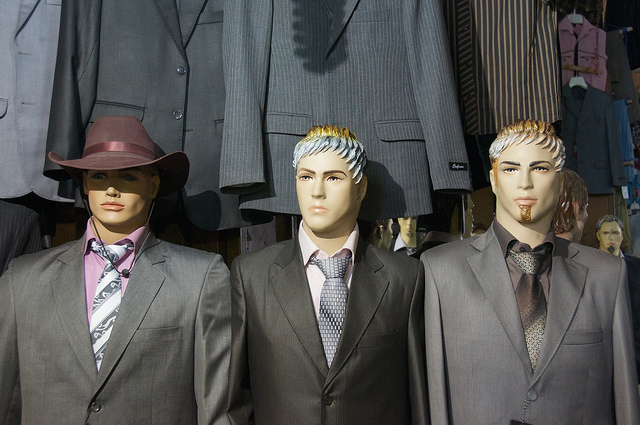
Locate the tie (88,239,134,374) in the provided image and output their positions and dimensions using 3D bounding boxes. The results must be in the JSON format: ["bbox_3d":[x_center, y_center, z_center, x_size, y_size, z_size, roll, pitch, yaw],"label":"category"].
[{"bbox_3d":[-1.260,0.531,3.963,0.230,0.119,1.030,7,41,-18],"label":"tie"}]

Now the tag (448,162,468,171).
[{"bbox_3d":[0.897,-0.296,4.344,0.124,0.054,0.006,-3,0,-26],"label":"tag"}]

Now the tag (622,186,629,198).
[{"bbox_3d":[2.964,-0.197,6.476,0.039,0.078,0.201,3,2,28],"label":"tag"}]

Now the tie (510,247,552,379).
[{"bbox_3d":[1.239,0.564,3.890,0.249,0.712,0.260,2,2,8],"label":"tie"}]

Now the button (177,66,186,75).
[{"bbox_3d":[-0.949,-0.974,4.594,0.055,0.057,0.016,2,2,12],"label":"button"}]

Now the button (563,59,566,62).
[{"bbox_3d":[2.279,-1.416,6.221,0.025,0.027,0.006,5,2,-3],"label":"button"}]

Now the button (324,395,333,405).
[{"bbox_3d":[0.048,1.055,3.781,0.049,0.057,0.012,-2,1,3],"label":"button"}]

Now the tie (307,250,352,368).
[{"bbox_3d":[0.055,0.551,3.921,0.262,0.640,0.212,2,2,0],"label":"tie"}]

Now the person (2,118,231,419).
[{"bbox_3d":[-1.203,0.320,4.014,1.335,1.807,0.528,2,2,-9],"label":"person"}]

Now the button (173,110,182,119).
[{"bbox_3d":[-0.968,-0.664,4.558,0.043,0.049,0.028,-2,0,-3],"label":"button"}]

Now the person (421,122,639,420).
[{"bbox_3d":[1.236,0.342,3.932,1.263,1.765,0.385,2,2,9],"label":"person"}]

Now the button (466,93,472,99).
[{"bbox_3d":[1.081,-0.837,4.826,0.033,0.037,0.008,5,-3,4],"label":"button"}]

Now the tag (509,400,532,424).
[{"bbox_3d":[1.121,1.106,3.714,0.091,0.127,0.124,5,-10,8],"label":"tag"}]

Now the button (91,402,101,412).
[{"bbox_3d":[-1.273,1.106,3.800,0.052,0.054,0.012,1,2,-19],"label":"button"}]
